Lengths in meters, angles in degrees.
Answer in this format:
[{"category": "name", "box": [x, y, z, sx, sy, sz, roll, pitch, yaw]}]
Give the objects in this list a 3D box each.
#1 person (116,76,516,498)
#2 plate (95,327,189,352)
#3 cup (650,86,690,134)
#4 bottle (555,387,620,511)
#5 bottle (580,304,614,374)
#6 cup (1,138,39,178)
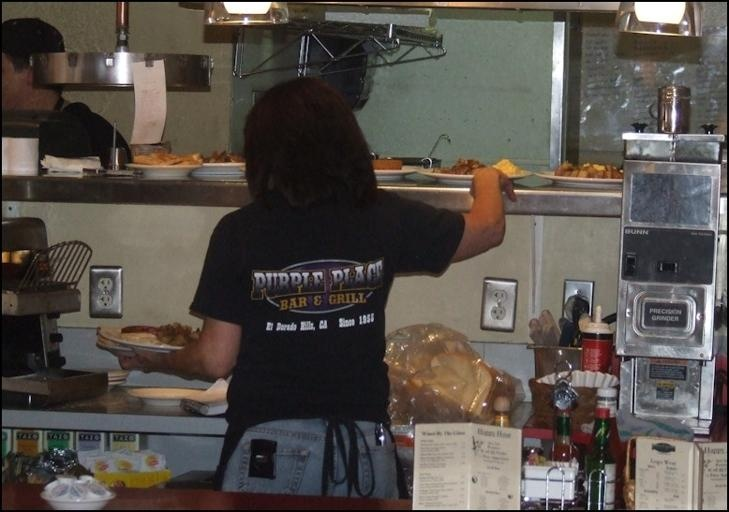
[{"category": "person", "box": [-0.126, 0.106, 2.484, 0.734, 1.172, 0.210, -1, 2, -12]}, {"category": "plate", "box": [-0.794, 0.294, 3.065, 0.202, 0.040, 0.147, 12, 4, 26]}, {"category": "cup", "box": [0.891, -0.420, 2.620, 0.152, 0.146, 0.093, 2, 4, 43]}, {"category": "bottle", "box": [0.577, 0.510, 2.336, 0.156, 0.330, 0.293, 1, 3, 28]}, {"category": "bottle", "box": [0.719, 0.256, 2.763, 0.096, 0.203, 0.151, 0, 2, 14]}, {"category": "cup", "box": [-1.156, -0.333, 3.008, 0.123, 0.126, 0.136, 2, 6, -10]}]
